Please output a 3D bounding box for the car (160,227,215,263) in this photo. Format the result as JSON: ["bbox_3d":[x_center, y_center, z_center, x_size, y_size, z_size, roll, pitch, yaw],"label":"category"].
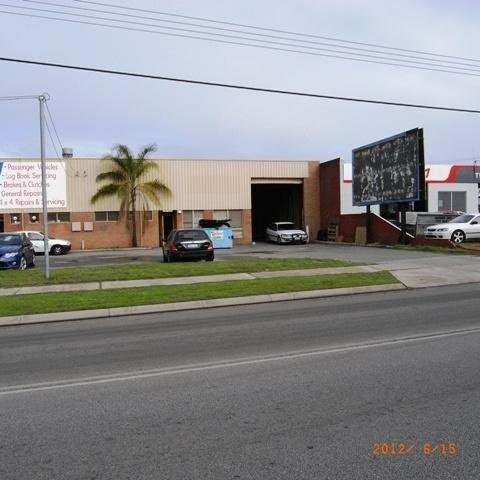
[{"bbox_3d":[-2.190,0.253,19.872,1.888,1.362,0.986,-1,0,6],"label":"car"}]
